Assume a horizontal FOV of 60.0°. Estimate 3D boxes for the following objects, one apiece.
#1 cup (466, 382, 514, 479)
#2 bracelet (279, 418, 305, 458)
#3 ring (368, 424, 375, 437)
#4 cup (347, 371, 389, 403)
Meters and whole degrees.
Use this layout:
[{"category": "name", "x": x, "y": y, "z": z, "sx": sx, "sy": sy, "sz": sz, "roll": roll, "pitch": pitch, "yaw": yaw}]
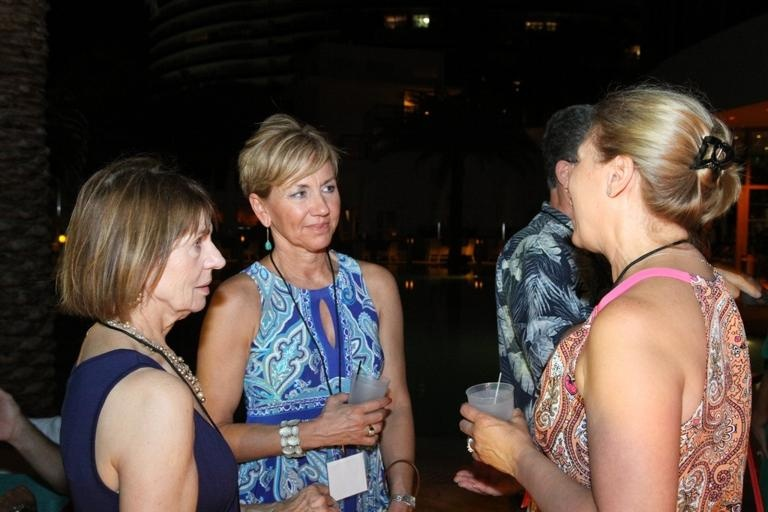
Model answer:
[{"category": "cup", "x": 0.435, "y": 0.692, "z": 2.792, "sx": 0.263, "sy": 0.297, "sz": 0.267, "roll": -1, "pitch": -3, "yaw": 0}, {"category": "bracelet", "x": -0.418, "y": 0.820, "z": 3.044, "sx": 0.098, "sy": 0.152, "sz": 0.155, "roll": -5, "pitch": 1, "yaw": -2}, {"category": "ring", "x": -0.061, "y": 0.779, "z": 2.979, "sx": 0.033, "sy": 0.045, "sz": 0.044, "roll": -2, "pitch": -11, "yaw": -7}, {"category": "cup", "x": -0.068, "y": 0.589, "z": 2.987, "sx": 0.143, "sy": 0.142, "sz": 0.127, "roll": 8, "pitch": 1, "yaw": -10}]
